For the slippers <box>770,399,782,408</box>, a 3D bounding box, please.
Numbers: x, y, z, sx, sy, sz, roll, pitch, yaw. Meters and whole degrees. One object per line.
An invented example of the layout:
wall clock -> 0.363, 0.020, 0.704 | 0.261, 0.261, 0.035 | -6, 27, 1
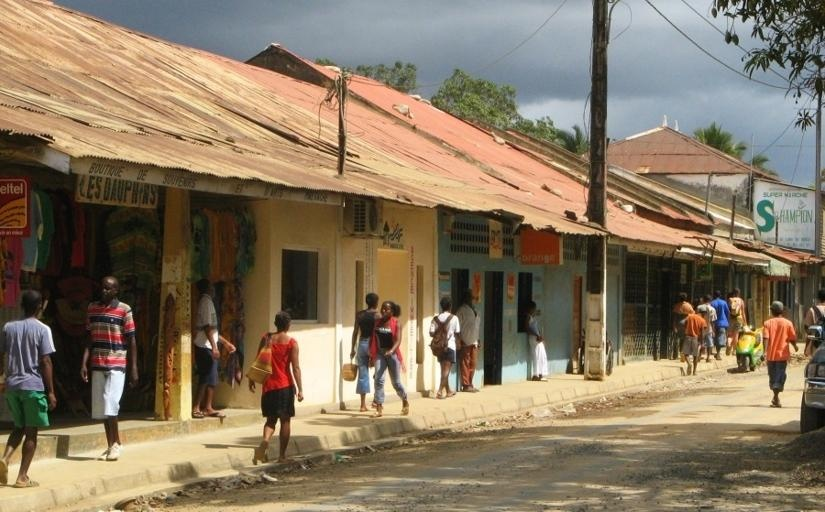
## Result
slippers -> 7.614, 3.063, 22.560 | 0.240, 0.242, 0.153 | 0, -9, -11

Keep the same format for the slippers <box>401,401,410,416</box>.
slippers -> -0.142, 3.066, 21.762 | 0.285, 0.208, 0.753 | 0, -1, 2

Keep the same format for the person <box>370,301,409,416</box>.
person -> -0.499, 2.037, 21.487 | 0.692, 2.267, 0.806 | -4, -5, -4

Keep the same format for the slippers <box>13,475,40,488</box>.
slippers -> -5.841, 3.396, 16.345 | 0.312, 0.132, 0.174 | -1, 2, -14

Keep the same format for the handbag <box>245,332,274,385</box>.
handbag -> -2.530, 1.722, 18.099 | 0.434, 0.840, 0.272 | -5, -5, 1

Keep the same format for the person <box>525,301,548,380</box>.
person -> 3.114, 2.142, 27.371 | 0.461, 1.989, 1.234 | -5, -5, 6

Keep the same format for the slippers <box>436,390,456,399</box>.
slippers -> 0.770, 3.062, 23.976 | 0.476, 0.201, 0.144 | -2, 1, -16

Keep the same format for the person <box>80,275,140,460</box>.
person -> -4.954, 1.845, 17.682 | 0.849, 2.958, 0.514 | -3, -5, -13

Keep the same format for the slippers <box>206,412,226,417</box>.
slippers -> -3.598, 2.928, 19.923 | 0.297, 0.072, 0.117 | -1, 1, 12
